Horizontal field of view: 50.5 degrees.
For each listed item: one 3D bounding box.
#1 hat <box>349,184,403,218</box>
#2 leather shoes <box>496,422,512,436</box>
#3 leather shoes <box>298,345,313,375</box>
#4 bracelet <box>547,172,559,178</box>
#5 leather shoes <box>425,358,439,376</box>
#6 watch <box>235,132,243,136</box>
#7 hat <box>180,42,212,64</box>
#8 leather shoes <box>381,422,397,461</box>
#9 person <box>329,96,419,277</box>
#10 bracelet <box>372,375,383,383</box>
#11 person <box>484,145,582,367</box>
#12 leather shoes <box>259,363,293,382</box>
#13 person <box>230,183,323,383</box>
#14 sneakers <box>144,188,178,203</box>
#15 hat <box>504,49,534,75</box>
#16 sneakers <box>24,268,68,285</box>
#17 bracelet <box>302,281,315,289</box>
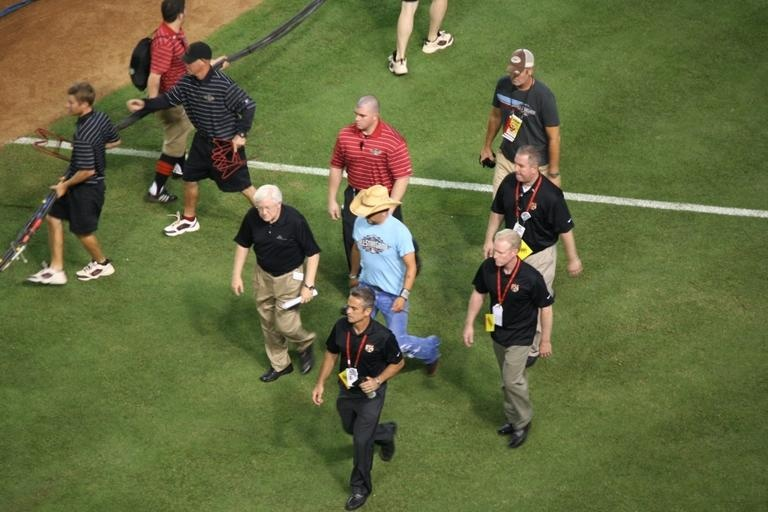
[{"bbox_3d":[-0.140,-0.744,10.640,0.522,0.217,0.413,-29,35,-30],"label":"hat"},{"bbox_3d":[1.606,2.273,10.755,0.221,0.096,0.115,-10,73,-25],"label":"leather shoes"},{"bbox_3d":[-1.117,1.427,11.345,0.132,0.261,0.386,9,63,16],"label":"leather shoes"},{"bbox_3d":[2.434,-1.180,11.807,0.082,0.091,0.039,1,62,6],"label":"bracelet"},{"bbox_3d":[0.644,1.522,11.279,0.108,0.191,0.198,22,84,39],"label":"leather shoes"},{"bbox_3d":[-2.190,-1.833,12.175,0.076,0.076,0.018,-1,-7,-7],"label":"watch"},{"bbox_3d":[-2.709,-2.958,11.744,0.377,0.221,0.279,5,38,-8],"label":"hat"},{"bbox_3d":[0.064,2.399,10.524,0.173,0.521,0.221,10,14,29],"label":"leather shoes"},{"bbox_3d":[-0.223,-0.839,11.848,1.127,2.979,0.875,4,30,9],"label":"person"},{"bbox_3d":[-0.090,1.518,9.973,0.099,0.068,0.089,17,6,-33],"label":"bracelet"},{"bbox_3d":[2.093,0.010,11.345,1.223,3.212,0.837,13,34,33],"label":"person"},{"bbox_3d":[-1.531,1.645,11.381,0.476,0.217,0.196,-22,74,-1],"label":"leather shoes"},{"bbox_3d":[-1.421,0.337,10.972,1.210,2.669,0.799,-21,35,-12],"label":"person"},{"bbox_3d":[-3.660,-0.988,13.397,0.571,0.265,0.197,-5,35,-20],"label":"sneakers"},{"bbox_3d":[1.933,-2.727,11.460,0.445,0.254,0.306,-32,40,-26],"label":"hat"},{"bbox_3d":[-4.989,0.304,12.051,0.620,0.270,0.226,2,14,-13],"label":"sneakers"},{"bbox_3d":[-1.035,0.382,10.830,0.104,0.042,0.094,7,-4,30],"label":"bracelet"}]
